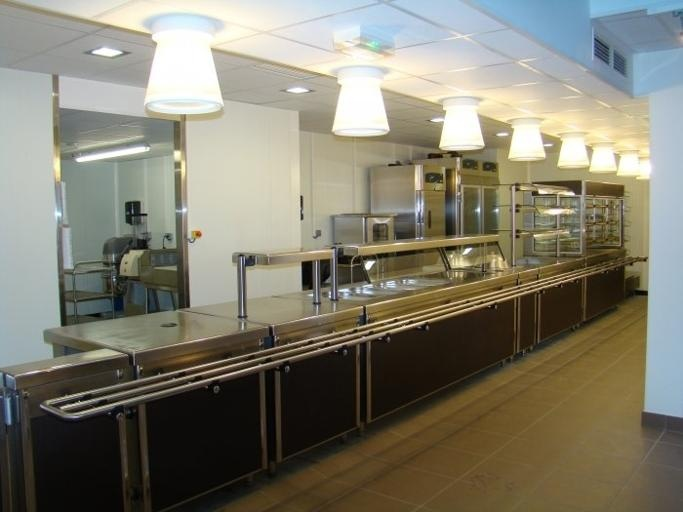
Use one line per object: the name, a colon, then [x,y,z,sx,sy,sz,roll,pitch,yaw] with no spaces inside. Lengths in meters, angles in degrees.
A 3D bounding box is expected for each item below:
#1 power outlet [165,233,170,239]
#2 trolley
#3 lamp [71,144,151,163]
power outlet: [-2.230,-0.257,6.924,0.063,0.025,0.077,7,-22,-13]
trolley: [-3.188,0.544,7.227,0.610,0.891,0.605,-8,-9,9]
lamp: [-2.955,-1.338,6.971,0.891,0.083,0.124,-6,-16,23]
